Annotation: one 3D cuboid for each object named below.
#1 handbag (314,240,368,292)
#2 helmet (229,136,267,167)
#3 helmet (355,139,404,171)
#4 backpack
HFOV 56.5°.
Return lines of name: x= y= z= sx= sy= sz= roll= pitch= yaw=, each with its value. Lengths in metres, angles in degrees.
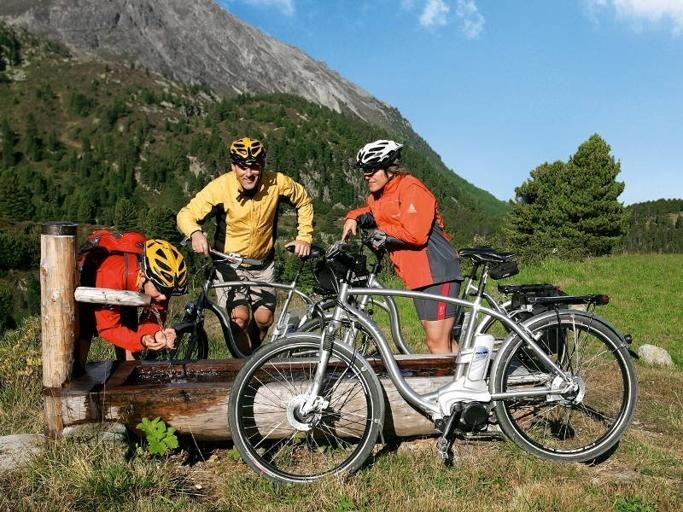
handbag: x=-0.027 y=0.134 z=7.389 sx=0.537 sy=0.621 sz=0.576 roll=2 pitch=-1 yaw=-25
helmet: x=-1.229 y=-1.387 z=8.428 sx=0.451 sy=0.370 sz=0.537 roll=4 pitch=-1 yaw=-11
helmet: x=0.533 y=-1.250 z=7.868 sx=0.478 sy=0.208 sz=0.348 roll=-13 pitch=6 yaw=-40
backpack: x=-2.717 y=0.074 z=7.579 sx=0.598 sy=0.841 sz=0.448 roll=12 pitch=-9 yaw=13
